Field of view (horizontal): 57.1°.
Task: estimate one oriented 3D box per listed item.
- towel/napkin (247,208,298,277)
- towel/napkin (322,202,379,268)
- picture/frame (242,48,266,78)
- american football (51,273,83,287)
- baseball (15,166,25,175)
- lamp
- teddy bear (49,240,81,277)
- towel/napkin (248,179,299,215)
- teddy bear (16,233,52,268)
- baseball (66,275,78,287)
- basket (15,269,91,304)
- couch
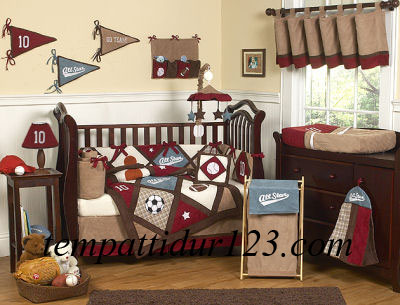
[{"bbox_3d":[0.516,0.715,3.030,0.433,0.618,0.447,0,-1,4],"label":"towel/napkin"},{"bbox_3d":[1.124,0.586,2.699,0.401,0.440,0.156,16,-5,28],"label":"towel/napkin"},{"bbox_3d":[0.589,-0.974,3.951,0.320,0.354,0.025,5,8,41],"label":"picture/frame"},{"bbox_3d":[-0.941,0.884,2.591,0.128,0.054,0.100,-1,7,8],"label":"american football"},{"bbox_3d":[-1.382,0.137,2.835,0.068,0.071,0.069,2,24,-23],"label":"baseball"},{"bbox_3d":[-1.337,-0.049,3.099,0.277,0.421,0.281,9,15,25],"label":"lamp"},{"bbox_3d":[-0.985,0.799,2.693,0.193,0.275,0.186,12,21,23],"label":"teddy bear"},{"bbox_3d":[0.545,0.340,2.820,0.323,0.178,0.253,-1,8,2],"label":"towel/napkin"},{"bbox_3d":[-1.209,0.673,2.739,0.208,0.301,0.240,3,3,39],"label":"teddy bear"},{"bbox_3d":[-0.888,0.888,2.556,0.073,0.074,0.074,-36,-26,21],"label":"baseball"},{"bbox_3d":[-0.991,0.886,2.559,0.304,0.102,0.242,2,4,-36],"label":"basket"},{"bbox_3d":[-0.332,0.175,3.406,1.669,1.279,0.932,-2,16,-15],"label":"couch"}]
